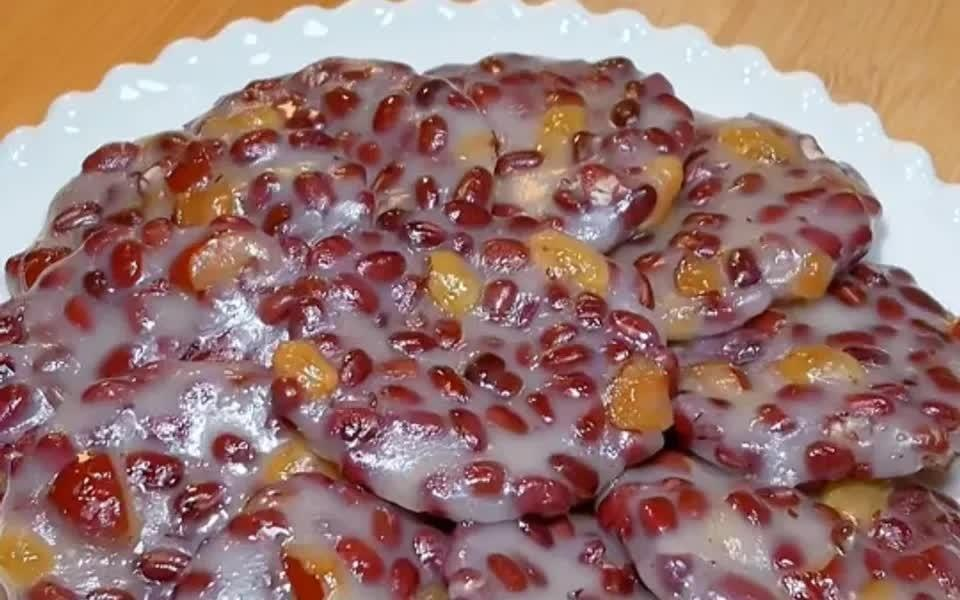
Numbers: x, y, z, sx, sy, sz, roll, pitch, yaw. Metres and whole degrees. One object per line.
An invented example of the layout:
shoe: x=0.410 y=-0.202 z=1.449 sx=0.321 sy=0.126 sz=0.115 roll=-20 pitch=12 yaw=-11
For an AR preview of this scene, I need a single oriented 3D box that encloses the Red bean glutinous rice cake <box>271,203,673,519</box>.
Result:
Red bean glutinous rice cake: x=-0.017 y=0.081 z=1.186 sx=0.471 sy=0.082 sz=0.338 roll=-2 pitch=79 yaw=3
